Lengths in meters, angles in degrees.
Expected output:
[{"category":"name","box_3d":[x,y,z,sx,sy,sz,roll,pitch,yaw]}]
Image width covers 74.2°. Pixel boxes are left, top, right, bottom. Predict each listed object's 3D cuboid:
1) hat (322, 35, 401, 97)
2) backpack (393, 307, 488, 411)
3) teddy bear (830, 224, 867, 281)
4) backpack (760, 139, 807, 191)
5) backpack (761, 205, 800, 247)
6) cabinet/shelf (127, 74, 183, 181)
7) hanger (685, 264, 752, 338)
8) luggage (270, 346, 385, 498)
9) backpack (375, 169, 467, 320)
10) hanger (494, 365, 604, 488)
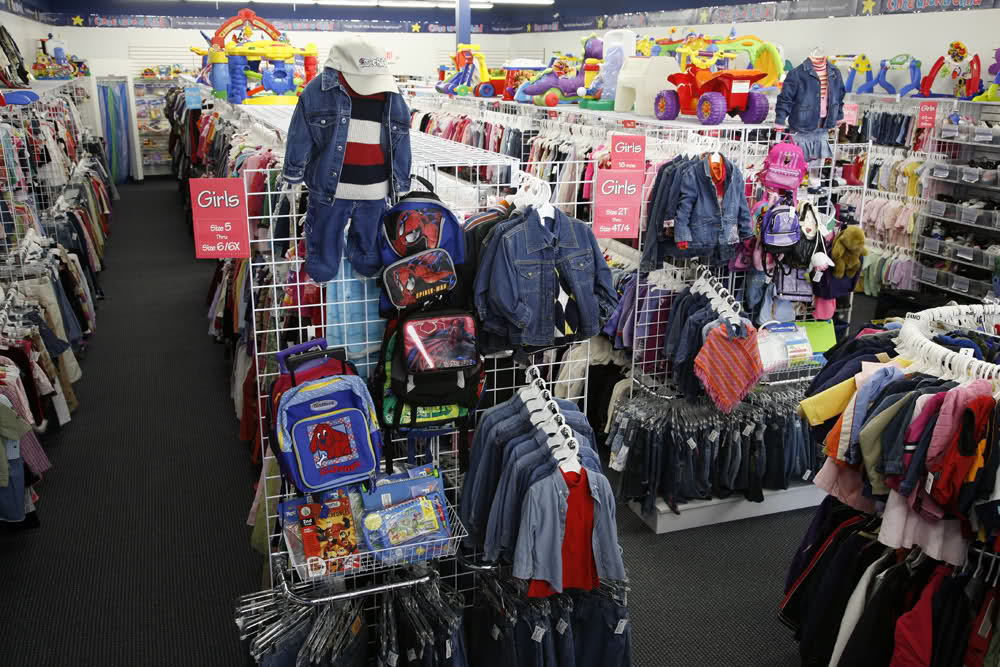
[{"category":"hat","box_3d":[-0.696,-1.428,3.439,0.462,0.241,0.311,32,33,32]},{"category":"backpack","box_3d":[-0.334,0.105,3.460,0.488,0.559,0.301,-6,26,-16]},{"category":"teddy bear","box_3d":[2.555,-0.610,4.839,0.261,0.406,0.190,-8,18,-29]},{"category":"backpack","box_3d":[2.085,-1.244,4.815,0.335,0.381,0.204,16,43,21]},{"category":"backpack","box_3d":[2.011,-0.735,4.671,0.237,0.306,0.158,3,-7,26]},{"category":"cabinet/shelf","box_3d":[-7.790,-4.718,14.998,0.737,2.195,0.472,-8,20,-25]},{"category":"hanger","box_3d":[1.508,-0.261,4.618,0.180,0.345,0.567,-10,23,-29]},{"category":"luggage","box_3d":[-0.851,0.399,3.197,0.482,0.619,0.479,-6,20,-20]},{"category":"backpack","box_3d":[-0.412,-0.489,3.383,0.408,0.660,0.217,-5,7,-20]},{"category":"hanger","box_3d":[0.275,0.429,3.245,0.226,0.319,0.452,-6,21,-20]}]
